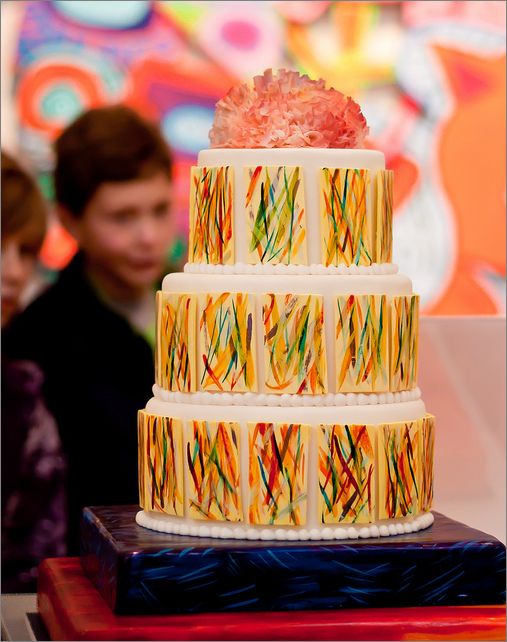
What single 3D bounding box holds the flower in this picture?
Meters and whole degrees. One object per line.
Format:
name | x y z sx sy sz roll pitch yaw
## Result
flower | 0.047 -0.302 1.658 0.149 0.087 0.152 -1 5 -12
